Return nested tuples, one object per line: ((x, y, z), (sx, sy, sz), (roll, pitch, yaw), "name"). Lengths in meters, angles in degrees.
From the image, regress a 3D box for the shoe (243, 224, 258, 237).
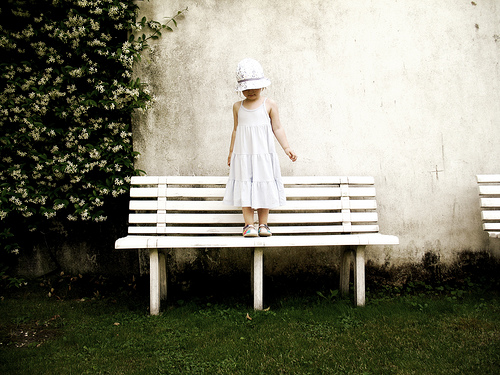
((0.008, 0.457, 5.791), (0.159, 0.139, 0.104), (-3, -2, 10), "shoe")

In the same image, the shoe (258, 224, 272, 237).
((0.156, 0.459, 5.810), (0.099, 0.115, 0.271), (0, -5, -1), "shoe")

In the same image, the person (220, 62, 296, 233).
((0.071, -0.411, 6.036), (0.754, 1.790, 0.919), (-2, -2, -4), "person")
